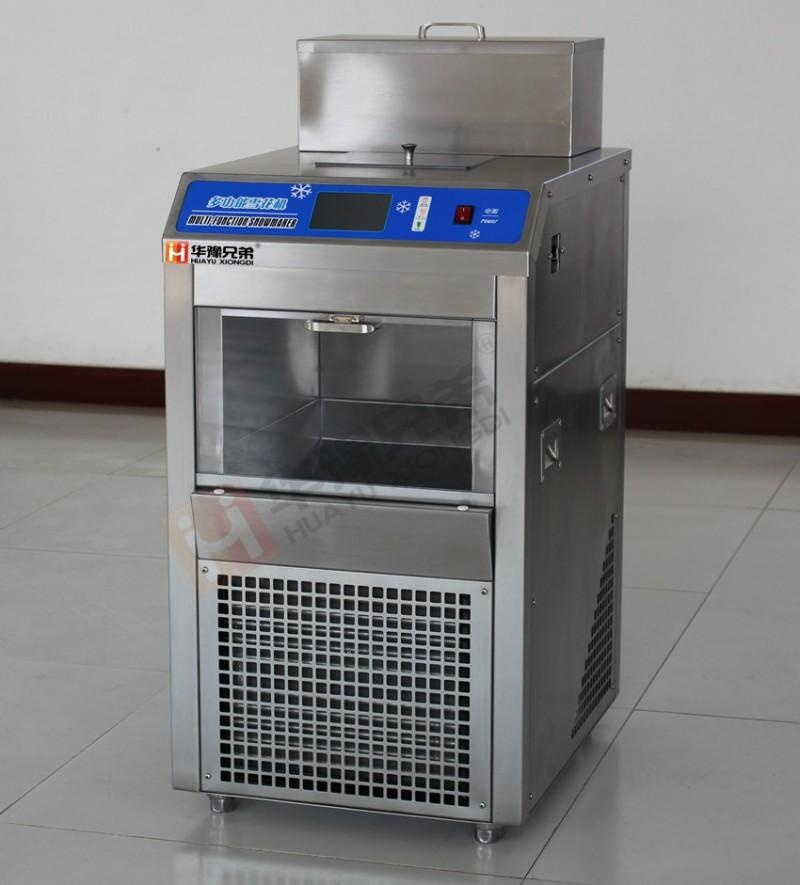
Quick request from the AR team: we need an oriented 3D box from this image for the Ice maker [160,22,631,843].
[{"bbox_3d":[0.005,0.050,1.953,0.660,1.172,0.755,3,10,24],"label":"Ice maker"}]
